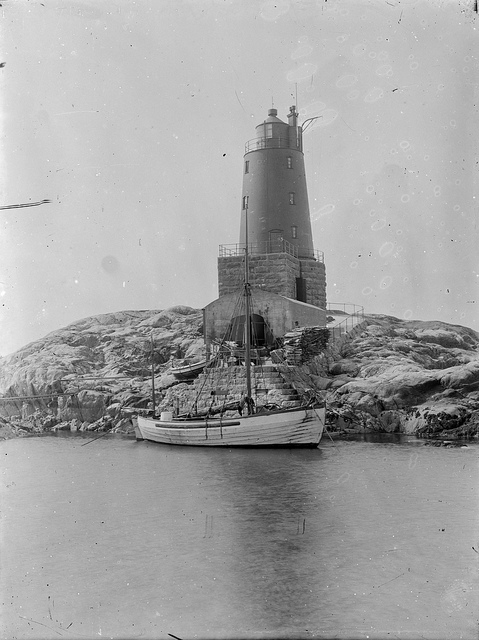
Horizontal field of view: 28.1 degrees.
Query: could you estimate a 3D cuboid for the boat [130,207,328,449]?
[{"bbox_3d":[-0.560,0.397,26.275,5.819,6.600,1.772,-3,-7,21],"label":"boat"}]
